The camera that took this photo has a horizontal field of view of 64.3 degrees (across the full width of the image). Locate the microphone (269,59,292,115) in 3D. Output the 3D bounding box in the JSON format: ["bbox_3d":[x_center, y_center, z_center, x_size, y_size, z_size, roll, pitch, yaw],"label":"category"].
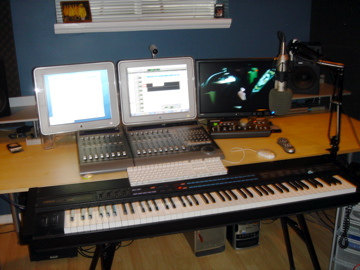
[{"bbox_3d":[0.575,-0.272,1.642,0.119,0.329,0.125,0,18,17],"label":"microphone"}]

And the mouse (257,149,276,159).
[{"bbox_3d":[0.592,0.130,1.971,0.092,0.024,0.062,4,31,-1],"label":"mouse"}]

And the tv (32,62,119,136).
[{"bbox_3d":[-0.739,-0.261,2.072,0.548,0.486,0.045,-8,15,-14],"label":"tv"}]

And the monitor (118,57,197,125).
[{"bbox_3d":[-0.178,-0.339,2.173,0.532,0.425,0.056,-4,12,-8],"label":"monitor"}]
